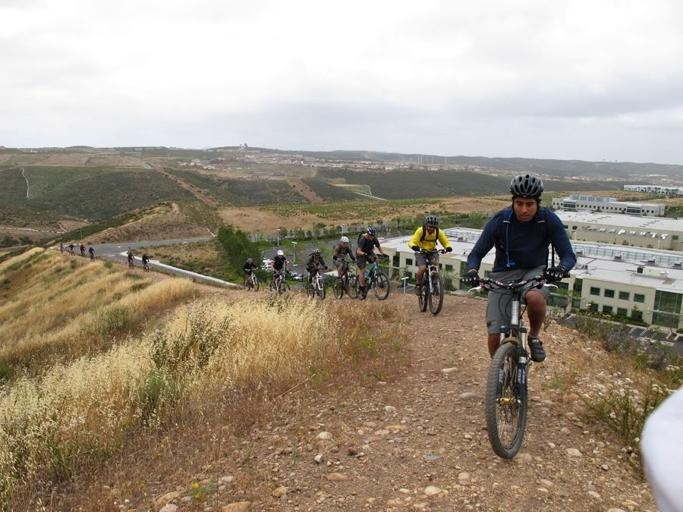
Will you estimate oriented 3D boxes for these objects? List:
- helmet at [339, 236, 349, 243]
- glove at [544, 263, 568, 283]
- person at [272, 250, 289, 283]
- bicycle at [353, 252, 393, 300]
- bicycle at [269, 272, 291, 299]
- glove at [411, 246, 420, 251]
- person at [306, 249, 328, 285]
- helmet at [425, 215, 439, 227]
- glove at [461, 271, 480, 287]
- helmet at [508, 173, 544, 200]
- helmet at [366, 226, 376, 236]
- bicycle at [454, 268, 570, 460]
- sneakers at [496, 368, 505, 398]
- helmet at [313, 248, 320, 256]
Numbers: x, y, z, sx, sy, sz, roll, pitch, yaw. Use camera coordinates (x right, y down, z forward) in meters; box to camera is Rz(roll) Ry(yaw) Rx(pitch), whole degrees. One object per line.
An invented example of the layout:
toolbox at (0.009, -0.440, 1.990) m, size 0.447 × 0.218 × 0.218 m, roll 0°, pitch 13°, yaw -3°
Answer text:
helmet at (0.032, -0.490, 16.034) m, size 0.316 × 0.301 × 0.252 m, roll 1°, pitch 14°, yaw 17°
glove at (2.942, 0.237, 6.832) m, size 0.263 × 0.108 × 0.209 m, roll -4°, pitch 15°, yaw -3°
person at (-2.524, 0.380, 20.559) m, size 0.723 × 0.804 × 1.239 m, roll -1°, pitch 0°, yaw -9°
bicycle at (0.983, 0.752, 17.350) m, size 1.156 × 1.568 × 2.387 m, roll 0°, pitch -3°, yaw -26°
bicycle at (-2.462, 1.083, 19.876) m, size 0.677 × 0.859 × 1.310 m, roll 0°, pitch 4°, yaw -21°
glove at (2.048, -0.221, 13.820) m, size 0.130 × 0.100 × 0.133 m, roll -4°, pitch -1°, yaw -13°
person at (-0.939, 0.458, 18.567) m, size 0.635 × 1.490 × 1.542 m, roll -5°, pitch 12°, yaw -7°
helmet at (2.438, -0.923, 13.442) m, size 0.268 × 0.347 × 0.352 m, roll 1°, pitch 18°, yaw 0°
glove at (1.886, 0.336, 7.258) m, size 0.260 × 0.101 × 0.195 m, roll -4°, pitch 6°, yaw -33°
helmet at (2.603, -0.976, 7.031) m, size 0.314 × 0.264 × 0.452 m, roll 3°, pitch 9°, yaw 22°
helmet at (0.898, -0.762, 15.387) m, size 0.278 × 0.344 × 0.468 m, roll -3°, pitch 12°, yaw 0°
bicycle at (2.344, 1.429, 6.812) m, size 0.643 × 2.395 × 1.547 m, roll 5°, pitch 15°, yaw 35°
sneakers at (2.118, 1.701, 6.677) m, size 0.119 × 0.546 × 0.124 m, roll -12°, pitch 35°, yaw -2°
helmet at (-0.924, -0.144, 18.072) m, size 0.208 × 0.110 × 0.308 m, roll 4°, pitch 4°, yaw -17°
